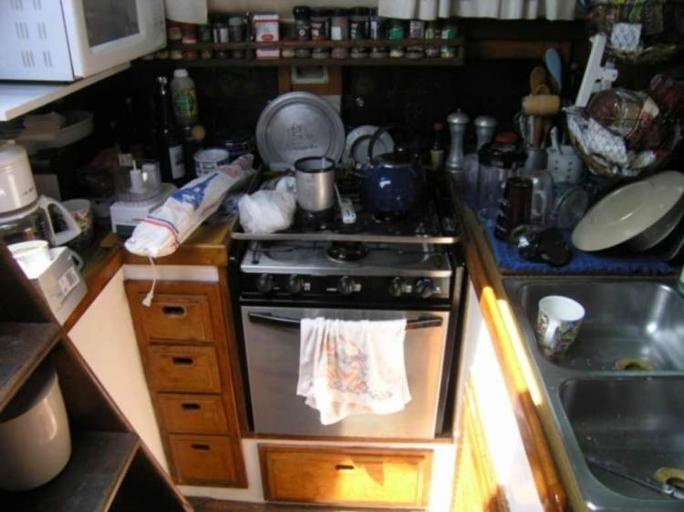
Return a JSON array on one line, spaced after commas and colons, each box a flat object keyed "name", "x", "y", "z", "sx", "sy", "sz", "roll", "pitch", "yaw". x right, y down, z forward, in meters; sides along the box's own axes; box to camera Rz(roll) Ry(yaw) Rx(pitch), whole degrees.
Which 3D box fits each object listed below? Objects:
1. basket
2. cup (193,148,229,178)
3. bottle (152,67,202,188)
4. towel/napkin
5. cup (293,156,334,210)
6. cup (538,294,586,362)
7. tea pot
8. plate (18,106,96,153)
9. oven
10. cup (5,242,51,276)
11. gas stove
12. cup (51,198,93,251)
[{"name": "basket", "x": 0.839, "y": -0.359, "z": 1.700, "sx": 0.266, "sy": 0.169, "sz": 0.207, "roll": 12, "pitch": 17, "yaw": -4}, {"name": "cup", "x": -0.503, "y": -0.368, "z": 2.074, "sx": 0.124, "sy": 0.125, "sz": 0.121, "roll": 2, "pitch": 32, "yaw": -1}, {"name": "bottle", "x": -0.661, "y": -0.522, "z": 2.173, "sx": 0.173, "sy": 0.412, "sz": 0.283, "roll": -8, "pitch": 27, "yaw": -13}, {"name": "towel/napkin", "x": 0.034, "y": 0.367, "z": 1.824, "sx": 0.422, "sy": 0.403, "sz": 0.110, "roll": 1, "pitch": 32, "yaw": 2}, {"name": "cup", "x": -0.094, "y": -0.240, "z": 1.825, "sx": 0.113, "sy": 0.119, "sz": 0.114, "roll": 1, "pitch": 40, "yaw": -1}, {"name": "cup", "x": 0.571, "y": 0.212, "z": 1.472, "sx": 0.111, "sy": 0.130, "sz": 0.178, "roll": 19, "pitch": 36, "yaw": 31}, {"name": "tea pot", "x": 0.122, "y": -0.309, "z": 1.910, "sx": 0.341, "sy": 0.296, "sz": 0.191, "roll": -4, "pitch": 28, "yaw": -5}, {"name": "plate", "x": -0.991, "y": -0.421, "z": 1.894, "sx": 0.187, "sy": 0.043, "sz": 0.182, "roll": -5, "pitch": 34, "yaw": -7}, {"name": "oven", "x": 0.015, "y": 0.380, "z": 1.975, "sx": 0.850, "sy": 0.623, "sz": 0.460, "roll": 1, "pitch": 35, "yaw": 1}, {"name": "cup", "x": -0.830, "y": 0.001, "z": 1.455, "sx": 0.124, "sy": 0.059, "sz": 0.150, "roll": -4, "pitch": 16, "yaw": -23}, {"name": "gas stove", "x": 0.053, "y": -0.002, "z": 1.821, "sx": 0.663, "sy": 0.336, "sz": 0.456, "roll": 0, "pitch": 43, "yaw": 2}, {"name": "cup", "x": -0.856, "y": -0.101, "z": 1.828, "sx": 0.110, "sy": 0.165, "sz": 0.110, "roll": 5, "pitch": -3, "yaw": 0}]
